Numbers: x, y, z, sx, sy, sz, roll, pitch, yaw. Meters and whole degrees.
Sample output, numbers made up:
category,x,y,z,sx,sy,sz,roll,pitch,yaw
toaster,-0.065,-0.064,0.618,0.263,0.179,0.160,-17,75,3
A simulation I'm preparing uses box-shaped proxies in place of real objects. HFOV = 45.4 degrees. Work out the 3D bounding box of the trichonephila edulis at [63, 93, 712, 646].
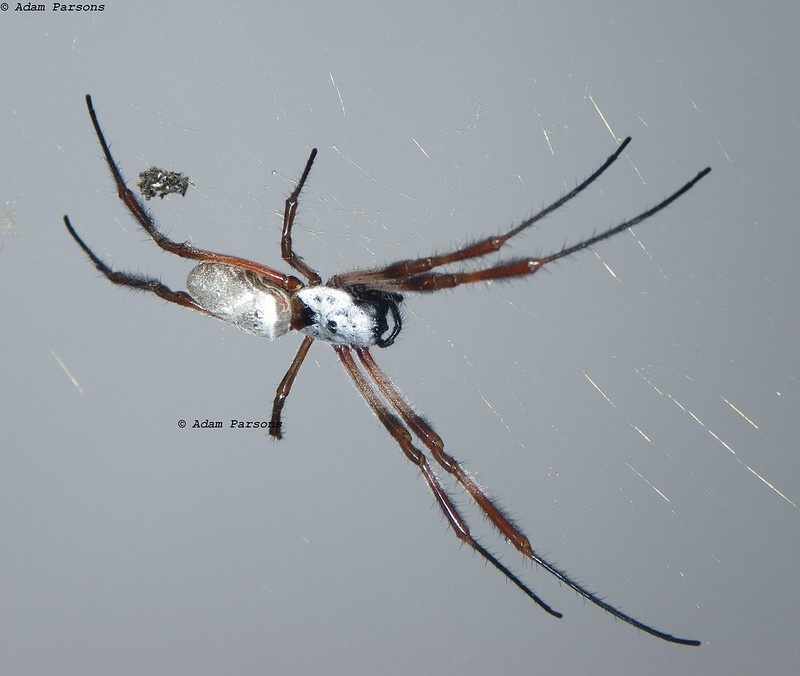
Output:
category,x,y,z,sx,sy,sz,roll,pitch,yaw
trichonephila edulis,-0.173,-0.048,3.641,2.173,0.736,1.313,21,-79,-11
